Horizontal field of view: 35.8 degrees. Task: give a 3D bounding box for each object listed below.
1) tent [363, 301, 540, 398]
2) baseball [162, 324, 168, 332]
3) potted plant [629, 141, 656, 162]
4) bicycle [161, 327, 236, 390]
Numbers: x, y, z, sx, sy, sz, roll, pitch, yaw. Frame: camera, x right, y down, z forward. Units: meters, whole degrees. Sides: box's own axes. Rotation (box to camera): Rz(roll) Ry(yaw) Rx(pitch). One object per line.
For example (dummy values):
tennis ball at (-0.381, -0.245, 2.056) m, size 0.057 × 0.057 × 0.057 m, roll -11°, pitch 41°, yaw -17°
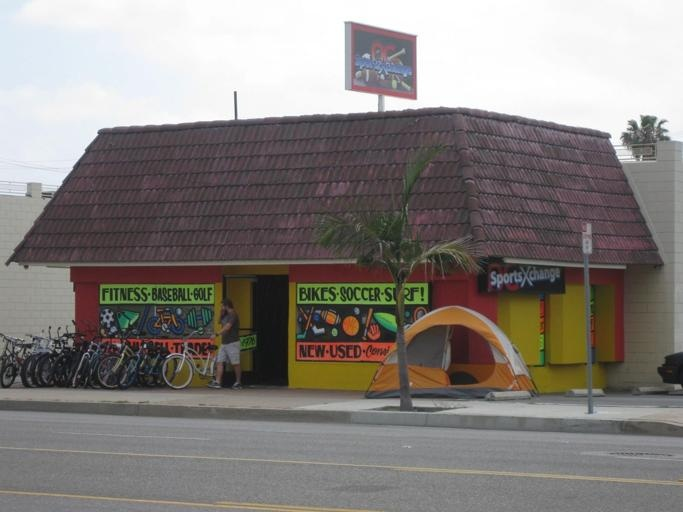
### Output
tent at (2.602, 2.231, 24.649) m, size 3.411 × 2.087 × 1.888 m, roll 0°, pitch -7°, yaw 10°
baseball at (-4.702, 1.900, 28.086) m, size 0.165 × 0.166 × 0.068 m, roll -13°, pitch -2°, yaw 13°
potted plant at (8.531, -2.929, 30.012) m, size 0.743 × 0.648 × 0.628 m, roll -4°, pitch -8°, yaw 34°
bicycle at (-3.697, 2.844, 27.430) m, size 1.818 × 1.172 × 0.926 m, roll 3°, pitch -3°, yaw -36°
